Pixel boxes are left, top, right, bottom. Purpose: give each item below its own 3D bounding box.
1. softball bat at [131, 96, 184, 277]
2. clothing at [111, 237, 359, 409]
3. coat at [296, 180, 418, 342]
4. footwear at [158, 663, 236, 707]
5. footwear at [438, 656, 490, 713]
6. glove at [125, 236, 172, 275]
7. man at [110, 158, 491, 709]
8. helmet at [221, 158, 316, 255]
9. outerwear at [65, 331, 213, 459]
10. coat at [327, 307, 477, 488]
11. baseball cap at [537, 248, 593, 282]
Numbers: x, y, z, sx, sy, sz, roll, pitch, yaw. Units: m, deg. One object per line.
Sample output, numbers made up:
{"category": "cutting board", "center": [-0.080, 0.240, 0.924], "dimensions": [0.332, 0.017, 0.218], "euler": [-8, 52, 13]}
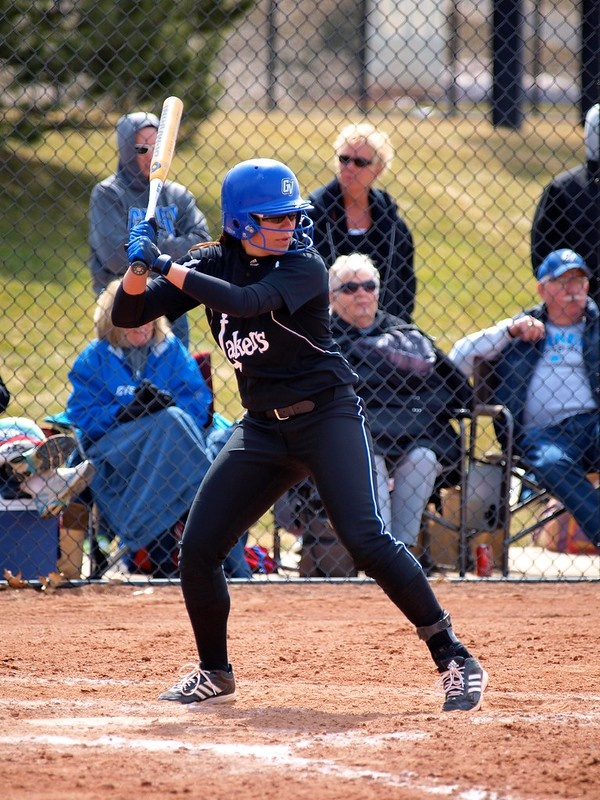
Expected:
{"category": "softball bat", "center": [-0.417, -0.645, 2.941], "dimensions": [0.096, 0.694, 0.083], "euler": [6, -33, 7]}
{"category": "clothing", "center": [-0.126, -0.293, 2.810], "dimensions": [0.572, 0.316, 0.738], "euler": [0, -4, 9]}
{"category": "coat", "center": [0.311, -0.663, 4.544], "dimensions": [0.603, 0.615, 0.249], "euler": [-5, 5, -2]}
{"category": "footwear", "center": [-0.276, 0.821, 2.897], "dimensions": [0.245, 0.082, 0.083], "euler": [-2, -6, -4]}
{"category": "footwear", "center": [0.443, 0.782, 2.774], "dimensions": [0.081, 0.083, 0.207], "euler": [-9, 2, 11]}
{"category": "glove", "center": [-0.385, -0.368, 2.604], "dimensions": [0.099, 0.104, 0.164], "euler": [0, 2, -14]}
{"category": "man", "center": [-0.001, 0.097, 2.731], "dimensions": [1.147, 1.355, 0.600], "euler": [4, 0, 16]}
{"category": "helmet", "center": [-0.072, -0.524, 2.740], "dimensions": [0.275, 0.268, 0.226], "euler": [0, 2, -19]}
{"category": "outerwear", "center": [-0.714, -0.104, 4.470], "dimensions": [0.694, 0.432, 0.345], "euler": [-3, -9, -10]}
{"category": "coat", "center": [0.486, -0.004, 4.240], "dimensions": [0.755, 0.682, 0.192], "euler": [-4, -1, -8]}
{"category": "baseball cap", "center": [1.174, -0.611, 4.632], "dimensions": [0.276, 0.147, 0.118], "euler": [1, 2, 37]}
